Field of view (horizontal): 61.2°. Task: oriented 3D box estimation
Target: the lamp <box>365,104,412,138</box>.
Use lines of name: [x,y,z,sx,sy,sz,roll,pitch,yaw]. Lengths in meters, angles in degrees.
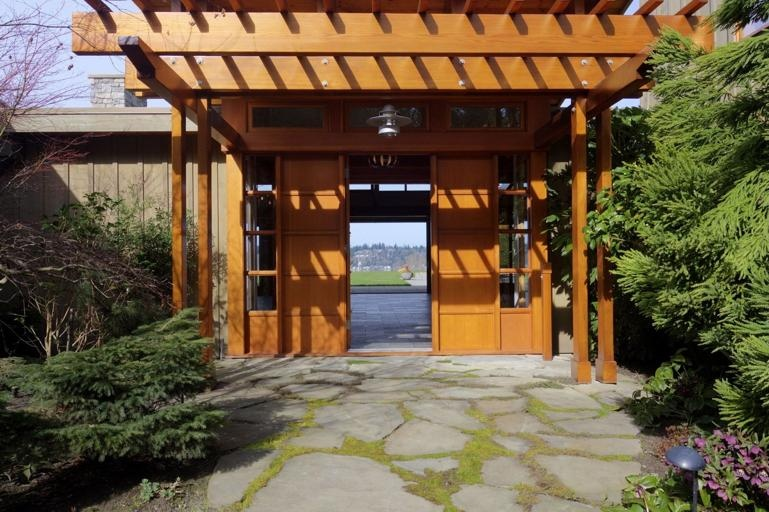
lamp: [0.034,-1.678,8.310,0.464,0.320,0.468,0,-7,-3]
